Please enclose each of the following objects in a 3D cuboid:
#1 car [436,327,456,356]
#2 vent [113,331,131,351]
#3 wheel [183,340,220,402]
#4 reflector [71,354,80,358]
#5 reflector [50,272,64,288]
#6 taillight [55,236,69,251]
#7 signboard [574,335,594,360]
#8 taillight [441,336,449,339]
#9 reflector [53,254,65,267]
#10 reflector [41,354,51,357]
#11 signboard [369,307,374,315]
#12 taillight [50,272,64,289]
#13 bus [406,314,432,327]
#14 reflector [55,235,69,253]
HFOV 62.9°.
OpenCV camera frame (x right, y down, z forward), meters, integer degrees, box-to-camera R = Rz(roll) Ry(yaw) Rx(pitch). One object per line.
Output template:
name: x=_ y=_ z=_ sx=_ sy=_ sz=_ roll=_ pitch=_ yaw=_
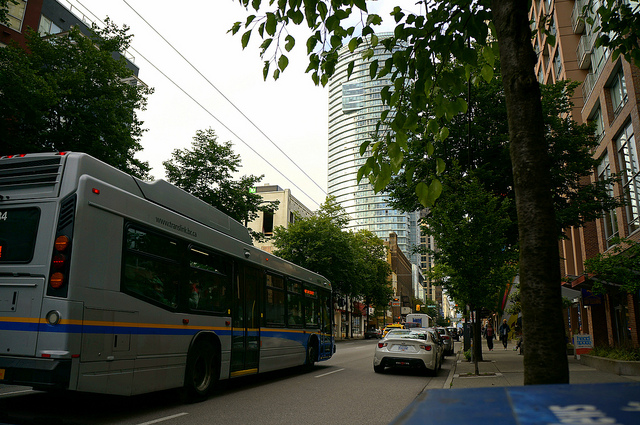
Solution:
car: x=7.490 y=7.890 z=31.239 sx=1.106 sy=0.888 sz=2.586 roll=-3 pitch=-7 yaw=16
vent: x=-4.137 y=2.685 z=10.915 sx=0.184 sy=0.397 sz=0.407 roll=-4 pitch=-11 yaw=12
wheel: x=-2.937 y=3.907 z=12.913 sx=0.434 sy=1.294 sz=1.308 roll=-5 pitch=-22 yaw=16
reflector: x=-4.682 y=2.761 z=10.056 sx=0.082 sy=0.020 sz=0.076 roll=7 pitch=3 yaw=0
reflector: x=-5.101 y=1.325 z=10.204 sx=0.206 sy=0.205 sz=0.036 roll=-42 pitch=-14 yaw=4
taillight: x=-5.079 y=0.620 z=10.369 sx=0.263 sy=0.267 sz=0.053 roll=3 pitch=-7 yaw=7
signboard: x=11.111 y=5.621 z=22.073 sx=0.679 sy=1.081 sz=1.840 roll=-9 pitch=-22 yaw=24
taillight: x=7.269 y=7.247 z=30.259 sx=0.262 sy=0.190 sz=0.571 roll=-9 pitch=-22 yaw=22
reflector: x=-5.116 y=0.947 z=10.298 sx=0.246 sy=0.250 sz=0.046 roll=-7 pitch=-19 yaw=18
reflector: x=-5.163 y=2.718 z=9.927 sx=0.171 sy=0.051 sz=0.039 roll=-9 pitch=-21 yaw=21
signboard: x=10.118 y=18.774 z=99.510 sx=0.353 sy=1.483 sz=1.607 roll=-9 pitch=-19 yaw=40
taillight: x=-5.094 y=1.328 z=10.203 sx=0.302 sy=0.362 sz=0.061 roll=0 pitch=-10 yaw=9
bus: x=10.133 y=11.100 z=53.666 sx=2.273 sy=1.556 sz=2.037 roll=-13 pitch=-23 yaw=31
reflector: x=-5.083 y=0.632 z=10.367 sx=0.260 sy=0.298 sz=0.050 roll=13 pitch=-11 yaw=9
